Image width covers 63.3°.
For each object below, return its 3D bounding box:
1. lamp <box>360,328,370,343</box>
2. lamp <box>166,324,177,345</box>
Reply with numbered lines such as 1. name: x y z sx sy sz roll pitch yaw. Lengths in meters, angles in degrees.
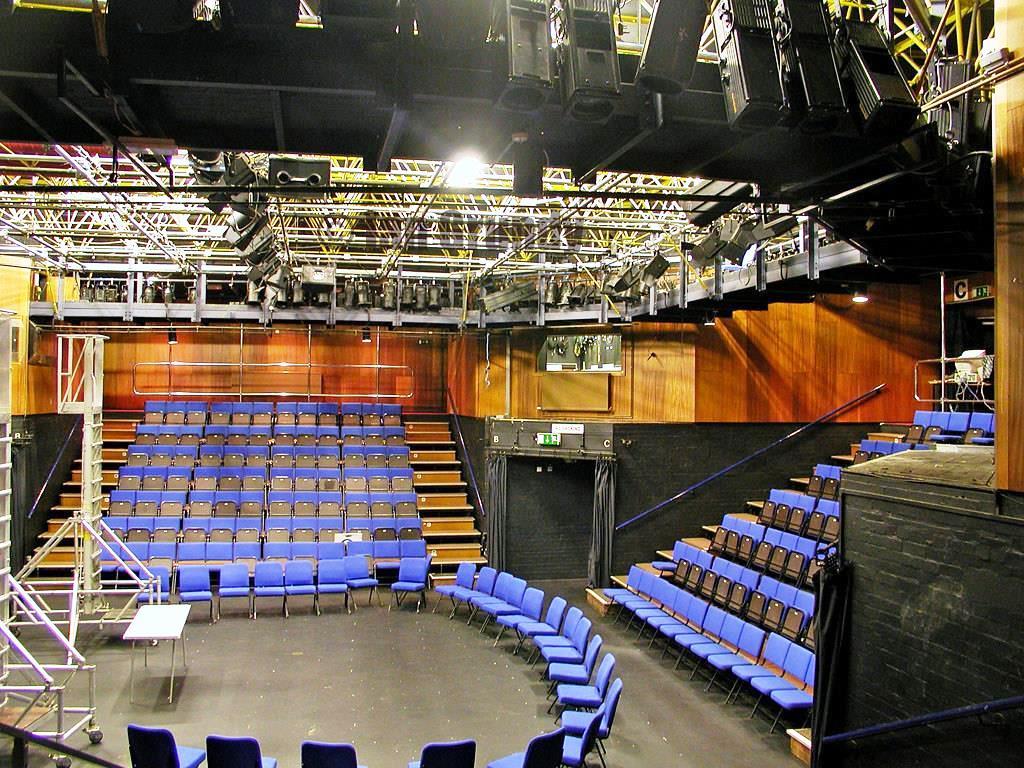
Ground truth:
1. lamp: -3.305 -1.109 18.852 0.167 0.185 0.321 -9 0 -9
2. lamp: -7.571 -1.114 18.529 0.267 0.447 0.273 5 -15 -30
